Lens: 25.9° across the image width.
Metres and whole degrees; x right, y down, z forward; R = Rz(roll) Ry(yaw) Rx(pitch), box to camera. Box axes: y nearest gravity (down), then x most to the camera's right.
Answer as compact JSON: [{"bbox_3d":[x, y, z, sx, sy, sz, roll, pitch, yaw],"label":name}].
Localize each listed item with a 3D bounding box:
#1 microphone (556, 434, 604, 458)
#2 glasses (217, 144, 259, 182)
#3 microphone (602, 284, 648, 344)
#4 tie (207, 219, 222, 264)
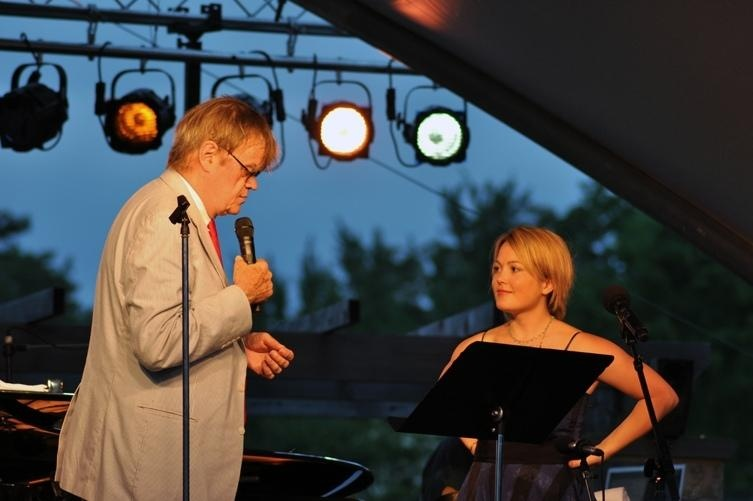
[{"bbox_3d":[1.688,1.639,13.793,0.529,0.175,0.143,-7,-47,50],"label":"microphone"},{"bbox_3d":[-1.121,-0.705,13.400,0.082,0.264,0.200,-32,-16,10],"label":"glasses"},{"bbox_3d":[2.115,0.519,13.882,0.236,0.635,0.244,-28,-45,7],"label":"microphone"},{"bbox_3d":[-1.331,-0.094,13.452,0.069,0.426,0.062,-11,-4,-2],"label":"tie"}]
